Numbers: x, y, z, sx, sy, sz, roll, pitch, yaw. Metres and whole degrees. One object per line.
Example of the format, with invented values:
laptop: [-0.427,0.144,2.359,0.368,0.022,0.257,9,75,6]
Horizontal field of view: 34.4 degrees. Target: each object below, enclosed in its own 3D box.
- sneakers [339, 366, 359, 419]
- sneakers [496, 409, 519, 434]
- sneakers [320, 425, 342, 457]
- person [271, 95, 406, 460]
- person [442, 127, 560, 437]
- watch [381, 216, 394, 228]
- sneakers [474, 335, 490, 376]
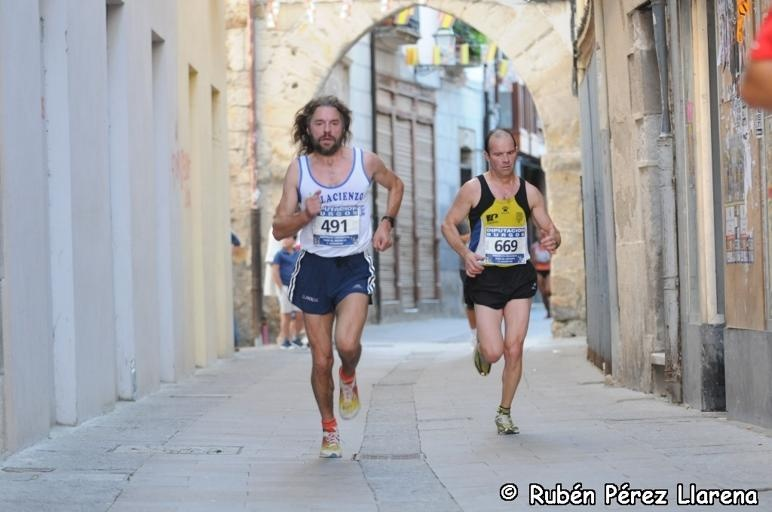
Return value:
sneakers: [-0.310,1.140,10.502,0.152,0.448,0.184,-6,1,2]
sneakers: [1.080,1.458,11.135,0.212,0.222,0.215,-3,2,5]
sneakers: [-0.466,1.553,10.465,0.200,0.240,0.535,0,-6,-4]
person: [-0.414,0.161,10.455,1.011,2.049,0.712,-3,2,-5]
person: [1.036,0.217,11.185,0.988,2.695,0.558,-3,2,4]
watch: [0.009,-0.309,10.651,0.090,0.046,0.093,35,-5,13]
sneakers: [0.883,0.933,11.448,0.123,0.392,0.160,-8,0,-20]
